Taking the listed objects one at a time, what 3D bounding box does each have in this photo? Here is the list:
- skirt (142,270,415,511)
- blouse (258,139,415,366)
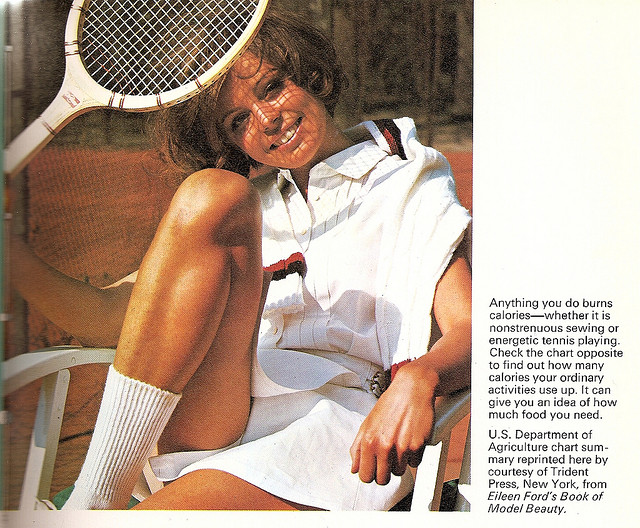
[{"bbox_3d":[-0.078,0.475,2.380,0.839,0.720,0.308,18,-24,-4],"label":"skirt"},{"bbox_3d":[0.062,-0.012,2.376,0.627,0.761,0.411,0,2,24],"label":"blouse"}]
